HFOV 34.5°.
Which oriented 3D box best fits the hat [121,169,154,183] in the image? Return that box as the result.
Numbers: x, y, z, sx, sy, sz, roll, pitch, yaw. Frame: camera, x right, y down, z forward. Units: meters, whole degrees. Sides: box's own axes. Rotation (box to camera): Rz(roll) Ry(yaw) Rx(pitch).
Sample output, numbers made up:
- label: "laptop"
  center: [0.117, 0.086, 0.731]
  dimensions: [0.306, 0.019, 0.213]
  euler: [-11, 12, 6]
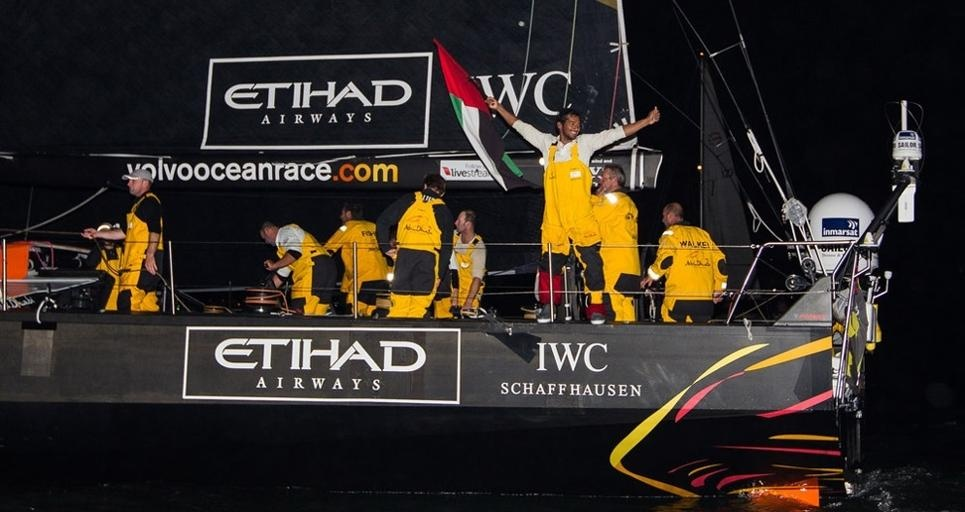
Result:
- label: "hat"
  center: [-4.327, -0.983, 19.363]
  dimensions: [0.327, 0.107, 0.198]
  euler: [1, -1, -3]

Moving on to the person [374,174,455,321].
- label: "person"
  center: [-0.775, -0.105, 19.135]
  dimensions: [0.900, 1.579, 0.444]
  euler: [9, -12, -1]

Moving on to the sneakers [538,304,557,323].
- label: "sneakers"
  center: [0.786, 0.681, 18.411]
  dimensions: [0.267, 0.228, 0.162]
  euler: [2, -3, 11]

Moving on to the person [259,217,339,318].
- label: "person"
  center: [-2.291, 0.159, 19.422]
  dimensions: [1.020, 1.114, 0.890]
  euler: [2, -3, 13]

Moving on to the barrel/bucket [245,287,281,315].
- label: "barrel/bucket"
  center: [-2.706, 0.543, 19.000]
  dimensions: [0.382, 0.177, 0.350]
  euler: [3, 2, 0]

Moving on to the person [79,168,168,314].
- label: "person"
  center: [-4.363, -0.212, 19.202]
  dimensions: [0.818, 1.756, 0.973]
  euler: [3, -3, -13]

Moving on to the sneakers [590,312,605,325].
- label: "sneakers"
  center: [1.344, 0.728, 18.296]
  dimensions: [0.153, 0.106, 0.140]
  euler: [1, 2, 0]
